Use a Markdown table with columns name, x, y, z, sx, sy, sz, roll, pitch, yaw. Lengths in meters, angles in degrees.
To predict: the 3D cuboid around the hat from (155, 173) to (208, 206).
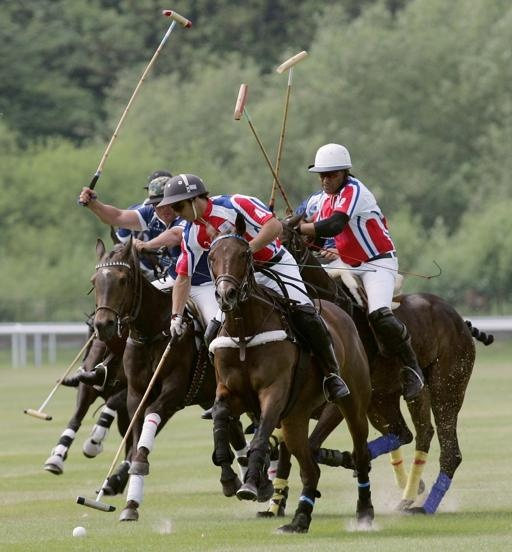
| name | x | y | z | sx | sy | sz | roll | pitch | yaw |
| --- | --- | --- | --- | --- | --- | --- | --- | --- | --- |
| hat | -0.453 | -0.536 | 6.866 | 0.278 | 0.121 | 0.203 | -2 | -9 | -37 |

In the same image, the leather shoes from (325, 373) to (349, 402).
| name | x | y | z | sx | sy | sz | roll | pitch | yaw |
| --- | --- | --- | --- | --- | --- | --- | --- | --- | --- |
| leather shoes | 0.488 | 0.692 | 6.807 | 0.137 | 0.178 | 0.065 | -18 | -13 | -6 |

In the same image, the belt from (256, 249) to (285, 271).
| name | x | y | z | sx | sy | sz | roll | pitch | yaw |
| --- | --- | --- | --- | --- | --- | --- | --- | --- | --- |
| belt | 0.088 | -0.095 | 7.084 | 0.131 | 0.036 | 0.164 | -12 | 14 | 41 |

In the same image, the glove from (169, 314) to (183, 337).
| name | x | y | z | sx | sy | sz | roll | pitch | yaw |
| --- | --- | --- | --- | --- | --- | --- | --- | --- | --- |
| glove | -0.525 | 0.334 | 7.378 | 0.057 | 0.121 | 0.103 | 2 | -5 | -1 |

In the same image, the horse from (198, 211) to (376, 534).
| name | x | y | z | sx | sy | sz | roll | pitch | yaw |
| --- | --- | --- | --- | --- | --- | --- | --- | --- | --- |
| horse | 0.142 | 0.745 | 7.115 | 0.809 | 1.693 | 2.797 | -8 | -19 | 18 |

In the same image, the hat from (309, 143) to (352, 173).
| name | x | y | z | sx | sy | sz | roll | pitch | yaw |
| --- | --- | --- | --- | --- | --- | --- | --- | --- | --- |
| hat | 0.538 | -0.853 | 8.027 | 0.238 | 0.120 | 0.283 | -4 | -3 | 38 |

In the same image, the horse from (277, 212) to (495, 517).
| name | x | y | z | sx | sy | sz | roll | pitch | yaw |
| --- | --- | --- | --- | --- | --- | --- | --- | --- | --- |
| horse | 0.799 | 0.843 | 8.325 | 0.914 | 2.111 | 3.437 | -1 | -4 | 30 |
